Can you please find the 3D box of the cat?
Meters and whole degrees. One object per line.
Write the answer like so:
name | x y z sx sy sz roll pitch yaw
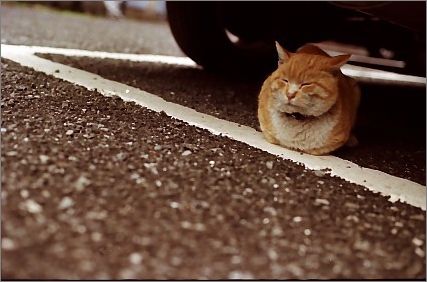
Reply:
cat | 0.698 -0.362 2.761 0.740 0.681 1.023 8 28 16
